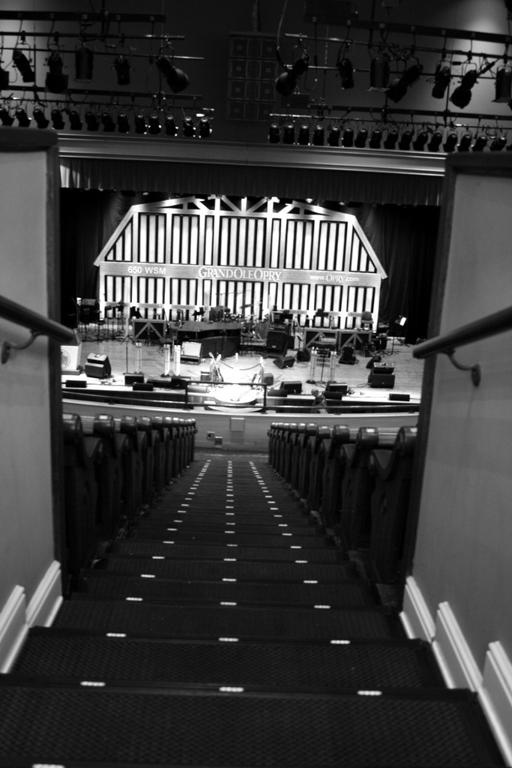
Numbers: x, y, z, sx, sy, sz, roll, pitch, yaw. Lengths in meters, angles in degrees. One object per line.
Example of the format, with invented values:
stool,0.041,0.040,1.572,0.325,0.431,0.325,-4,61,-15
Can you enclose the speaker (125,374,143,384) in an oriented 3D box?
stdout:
speaker,-2.610,-0.093,12.352,0.347,0.220,0.249,3,0,10

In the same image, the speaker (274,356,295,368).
speaker,0.771,-0.678,16.197,0.420,0.323,0.336,-1,20,-39

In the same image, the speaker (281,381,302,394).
speaker,0.781,-0.034,12.594,0.419,0.388,0.248,2,16,-2
